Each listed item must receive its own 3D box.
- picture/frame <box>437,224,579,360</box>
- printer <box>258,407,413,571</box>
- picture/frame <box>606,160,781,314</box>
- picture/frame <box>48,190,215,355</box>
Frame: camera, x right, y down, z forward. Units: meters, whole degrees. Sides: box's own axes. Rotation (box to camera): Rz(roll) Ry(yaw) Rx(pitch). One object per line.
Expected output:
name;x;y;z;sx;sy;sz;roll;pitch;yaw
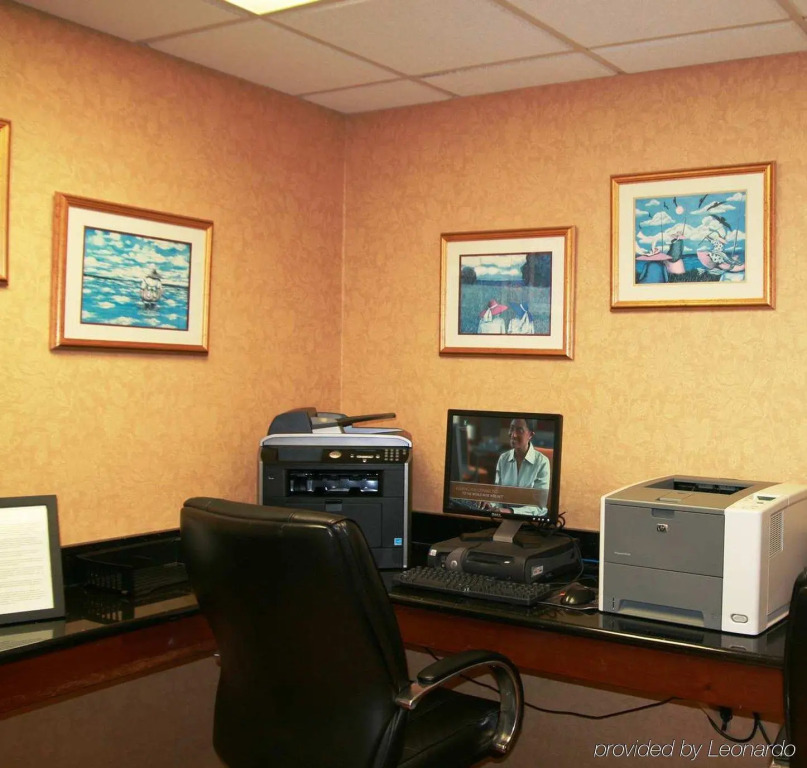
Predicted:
picture/frame;0.407;-0.365;2.827;0.625;0.479;0.023;6;10;43
printer;-0.139;0.370;2.604;0.625;0.553;0.581;-1;-4;6
picture/frame;1.043;-0.515;2.424;0.679;0.503;0.026;1;3;33
picture/frame;-0.911;-0.352;2.394;0.020;0.454;0.610;6;5;33
